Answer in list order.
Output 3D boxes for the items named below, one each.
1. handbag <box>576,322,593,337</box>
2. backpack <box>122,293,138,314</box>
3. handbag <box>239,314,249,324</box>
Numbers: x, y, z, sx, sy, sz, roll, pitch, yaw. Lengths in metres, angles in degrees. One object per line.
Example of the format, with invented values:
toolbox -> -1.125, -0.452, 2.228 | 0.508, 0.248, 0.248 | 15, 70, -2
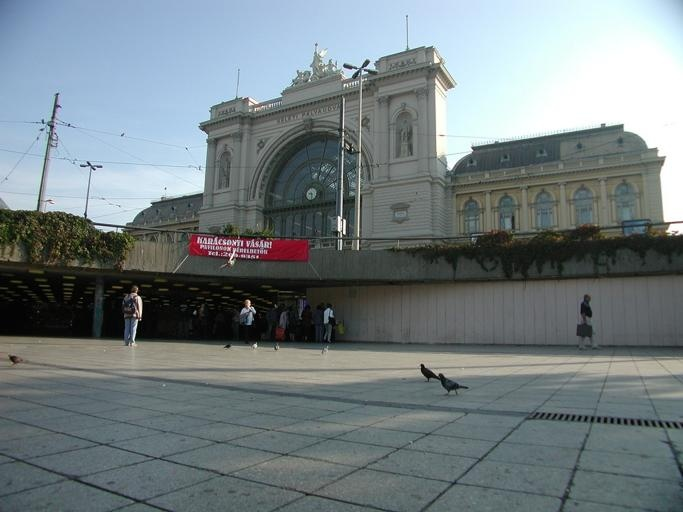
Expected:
handbag -> 8.960, 2.748, 18.620 | 0.441, 0.600, 0.810 | -2, -5, 34
backpack -> -7.019, 1.638, 16.829 | 0.474, 0.717, 0.299 | 1, -4, 0
handbag -> -3.664, 2.391, 19.121 | 0.226, 0.381, 0.508 | 2, -4, -16
